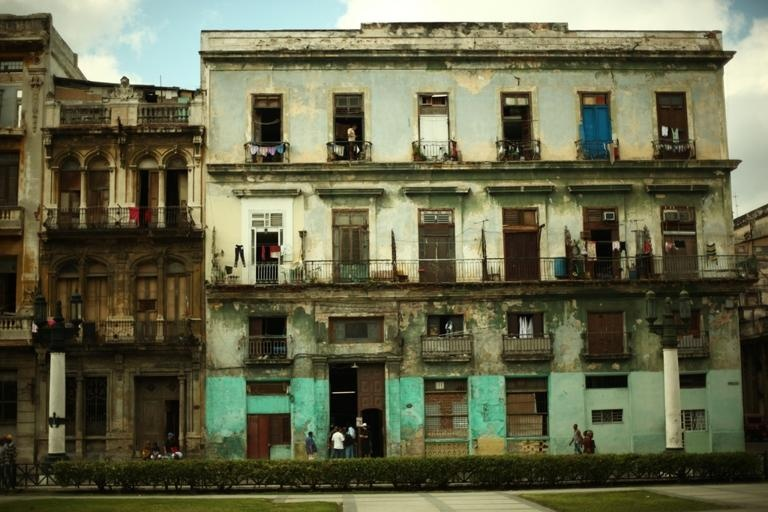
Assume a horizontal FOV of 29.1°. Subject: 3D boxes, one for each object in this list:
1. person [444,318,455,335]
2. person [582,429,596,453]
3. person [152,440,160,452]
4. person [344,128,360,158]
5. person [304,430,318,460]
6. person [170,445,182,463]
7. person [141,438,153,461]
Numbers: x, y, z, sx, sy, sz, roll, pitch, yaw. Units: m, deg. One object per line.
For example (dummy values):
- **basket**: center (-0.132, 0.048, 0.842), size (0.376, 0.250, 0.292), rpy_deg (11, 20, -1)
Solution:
- **person**: center (3.491, 3.969, 82.492), size (0.544, 0.866, 0.174), rpy_deg (-2, -13, 1)
- **person**: center (10.842, 9.965, 79.739), size (0.645, 1.413, 2.550), rpy_deg (-3, -13, 7)
- **person**: center (-12.478, 10.419, 81.217), size (0.485, 0.609, 1.106), rpy_deg (0, -13, -8)
- **person**: center (-1.862, -6.375, 83.755), size (0.667, 1.986, 0.644), rpy_deg (-1, -13, -1)
- **person**: center (-4.034, 10.256, 80.638), size (0.613, 1.545, 0.844), rpy_deg (-1, -13, -3)
- **person**: center (-11.045, 10.574, 78.650), size (0.650, 0.429, 0.897), rpy_deg (1, 7, -3)
- **person**: center (-12.815, 10.512, 80.432), size (0.682, 1.234, 2.531), rpy_deg (1, -13, -9)
